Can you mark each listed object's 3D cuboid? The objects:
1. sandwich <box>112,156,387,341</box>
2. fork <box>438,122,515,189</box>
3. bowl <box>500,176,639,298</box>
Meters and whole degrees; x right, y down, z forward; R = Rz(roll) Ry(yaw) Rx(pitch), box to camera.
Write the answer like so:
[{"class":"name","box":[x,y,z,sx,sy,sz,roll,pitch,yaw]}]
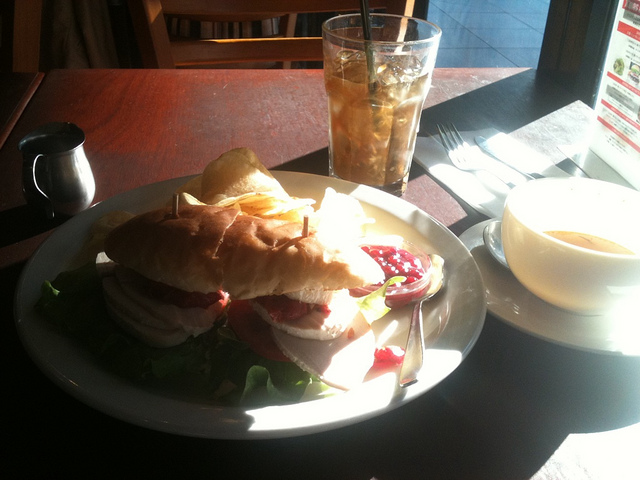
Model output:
[{"class":"sandwich","box":[-0.105,0.009,0.761,0.330,0.122,0.269,34,37,14]},{"class":"fork","box":[0.350,-0.220,1.227,0.054,0.046,0.328,-25,53,-20]},{"class":"bowl","box":[0.411,0.023,0.844,0.183,0.119,0.207,2,35,-1]}]
